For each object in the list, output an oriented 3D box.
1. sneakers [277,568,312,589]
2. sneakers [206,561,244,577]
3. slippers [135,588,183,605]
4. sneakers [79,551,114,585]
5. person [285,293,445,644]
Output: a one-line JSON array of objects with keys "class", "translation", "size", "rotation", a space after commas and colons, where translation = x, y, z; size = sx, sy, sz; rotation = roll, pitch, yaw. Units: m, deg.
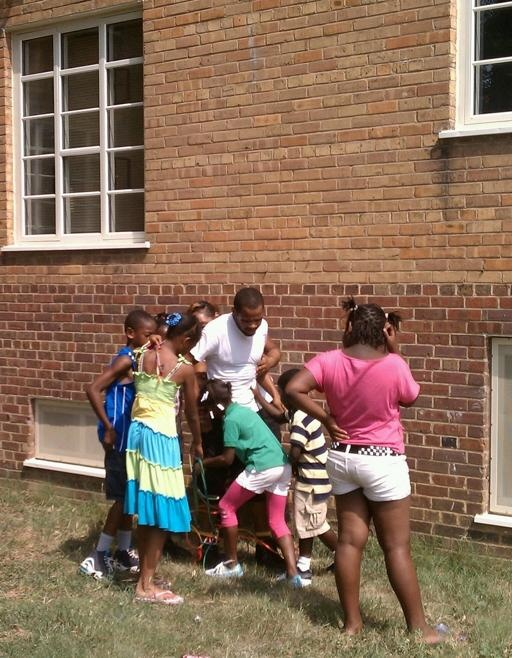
[{"class": "sneakers", "translation": [0.263, 1.603, 5.390], "size": [0.252, 0.089, 0.082], "rotation": [3, 0, 2]}, {"class": "sneakers", "translation": [-0.198, 1.607, 5.614], "size": [0.263, 0.086, 0.092], "rotation": [1, -3, 6]}, {"class": "slippers", "translation": [-0.587, 1.629, 5.124], "size": [0.227, 0.050, 0.098], "rotation": [1, 12, 8]}, {"class": "sneakers", "translation": [-1.047, 1.606, 5.685], "size": [0.130, 0.111, 0.289], "rotation": [16, -1, -40]}, {"class": "person", "translation": [0.606, 0.759, 4.565], "size": [0.774, 1.827, 0.506], "rotation": [-1, 5, 16]}]
